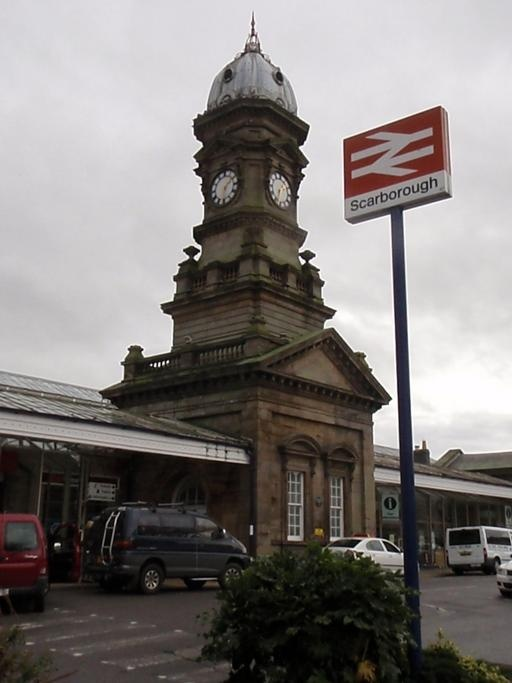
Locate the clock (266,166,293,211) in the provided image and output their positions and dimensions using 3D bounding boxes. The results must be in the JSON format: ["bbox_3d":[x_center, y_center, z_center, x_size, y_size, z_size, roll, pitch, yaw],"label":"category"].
[{"bbox_3d":[1.107,-7.510,34.065,0.205,1.856,1.867,-14,-48,36],"label":"clock"}]

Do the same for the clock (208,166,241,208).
[{"bbox_3d":[-1.570,-7.619,34.034,1.910,2.023,0.186,-15,-23,39],"label":"clock"}]

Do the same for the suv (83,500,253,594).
[{"bbox_3d":[-2.254,5.532,18.715,4.233,2.159,2.119,12,-20,-39],"label":"suv"}]
